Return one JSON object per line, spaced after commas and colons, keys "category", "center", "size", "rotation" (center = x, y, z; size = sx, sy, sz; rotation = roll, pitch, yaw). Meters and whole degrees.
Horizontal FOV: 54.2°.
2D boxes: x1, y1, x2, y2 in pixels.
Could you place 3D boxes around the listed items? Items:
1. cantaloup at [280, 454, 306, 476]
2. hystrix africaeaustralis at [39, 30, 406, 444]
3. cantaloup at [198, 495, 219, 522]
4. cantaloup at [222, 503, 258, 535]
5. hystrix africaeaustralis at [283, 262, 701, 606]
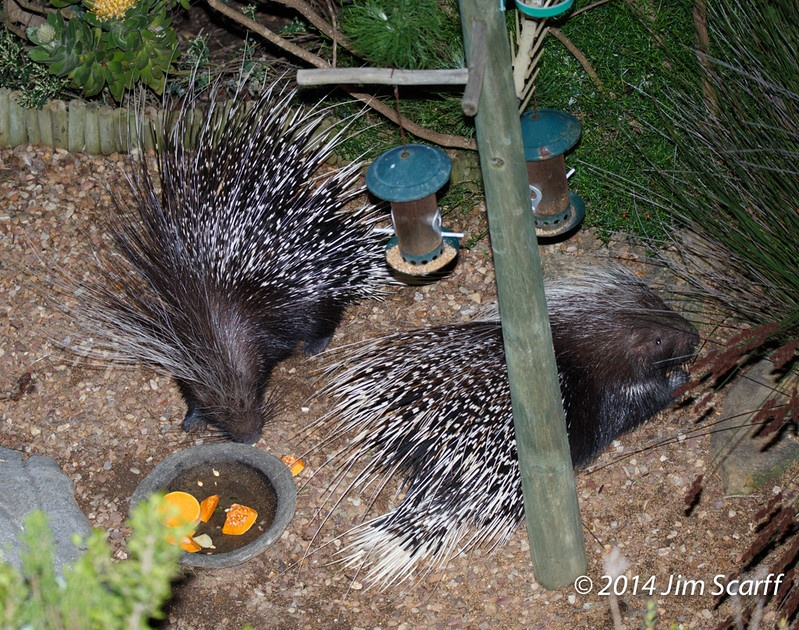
{"category": "cantaloup", "center": [-0.443, 0.620, 3.266], "size": [0.080, 0.039, 0.079], "rotation": [49, 54, 3]}
{"category": "hystrix africaeaustralis", "center": [-0.845, -0.398, 3.569], "size": [1.482, 0.769, 1.616], "rotation": [-22, 94, -19]}
{"category": "cantaloup", "center": [-0.760, 0.765, 3.101], "size": [0.066, 0.037, 0.093], "rotation": [-5, 62, -5]}
{"category": "cantaloup", "center": [-0.639, 0.813, 3.092], "size": [0.124, 0.044, 0.116], "rotation": [14, 62, 5]}
{"category": "hystrix africaeaustralis", "center": [0.456, 0.540, 3.298], "size": [1.536, 0.651, 1.011], "rotation": [-13, 50, -11]}
